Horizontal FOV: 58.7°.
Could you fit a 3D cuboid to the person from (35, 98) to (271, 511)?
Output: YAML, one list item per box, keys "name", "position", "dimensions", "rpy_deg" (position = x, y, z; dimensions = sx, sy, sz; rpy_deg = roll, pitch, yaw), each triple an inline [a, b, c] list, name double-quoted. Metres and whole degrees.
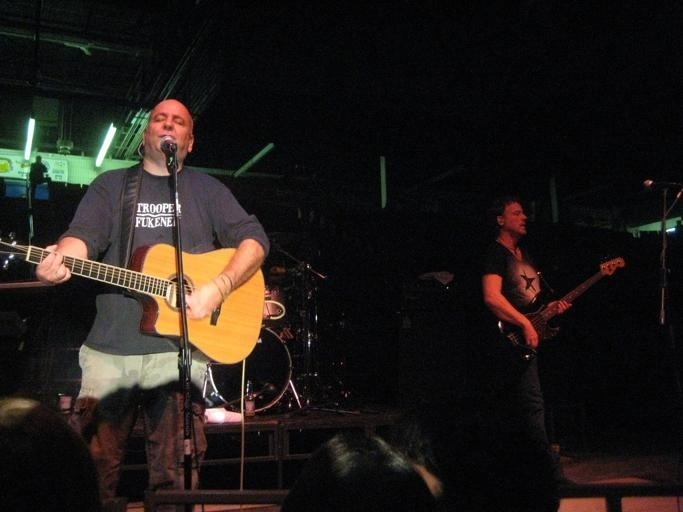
- name: "person"
  position: [-1.148, 0.226, 3.721]
  dimensions: [1.256, 2.505, 0.470]
  rpy_deg: [6, -9, -9]

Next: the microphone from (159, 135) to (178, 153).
- name: "microphone"
  position: [-1.024, -0.672, 3.633]
  dimensions: [0.076, 0.043, 0.117]
  rpy_deg: [10, -7, -38]
